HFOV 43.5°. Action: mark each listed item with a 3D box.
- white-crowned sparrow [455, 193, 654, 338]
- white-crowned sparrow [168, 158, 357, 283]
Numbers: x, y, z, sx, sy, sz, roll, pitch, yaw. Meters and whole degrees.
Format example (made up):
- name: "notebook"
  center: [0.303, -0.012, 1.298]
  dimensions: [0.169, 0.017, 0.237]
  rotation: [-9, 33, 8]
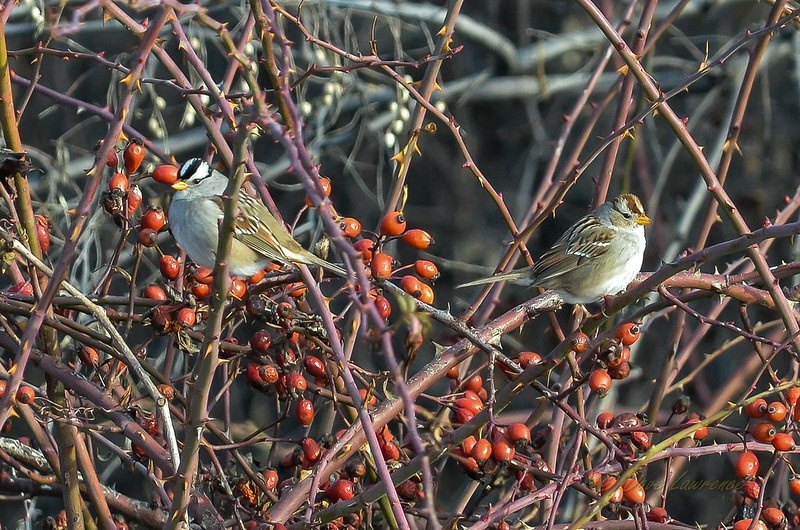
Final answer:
- name: "white-crowned sparrow"
  center: [0.897, -0.076, 6.209]
  dimensions: [1.384, 0.573, 0.931]
  rotation: [1, 76, 1]
- name: "white-crowned sparrow"
  center: [-0.778, -0.214, 5.565]
  dimensions: [1.046, 0.442, 0.609]
  rotation: [4, 91, -23]
